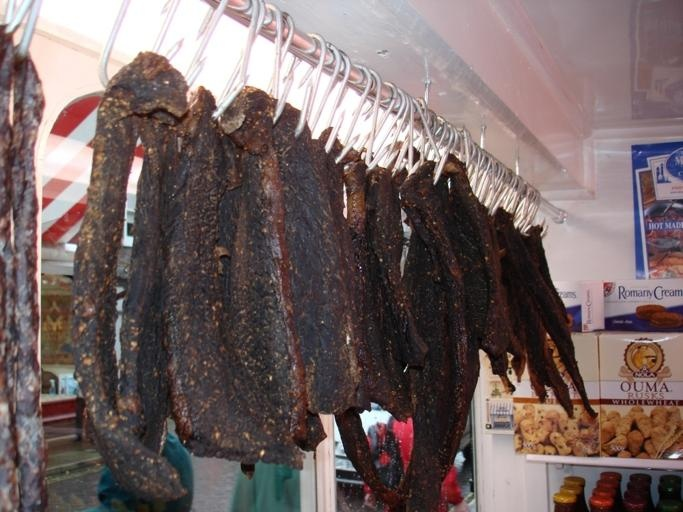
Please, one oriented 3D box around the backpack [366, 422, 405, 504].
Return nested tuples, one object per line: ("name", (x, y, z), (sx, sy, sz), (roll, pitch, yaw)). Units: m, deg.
("backpack", (0.228, 0.982, 2.787), (0.197, 0.356, 0.128), (10, -12, -42))
